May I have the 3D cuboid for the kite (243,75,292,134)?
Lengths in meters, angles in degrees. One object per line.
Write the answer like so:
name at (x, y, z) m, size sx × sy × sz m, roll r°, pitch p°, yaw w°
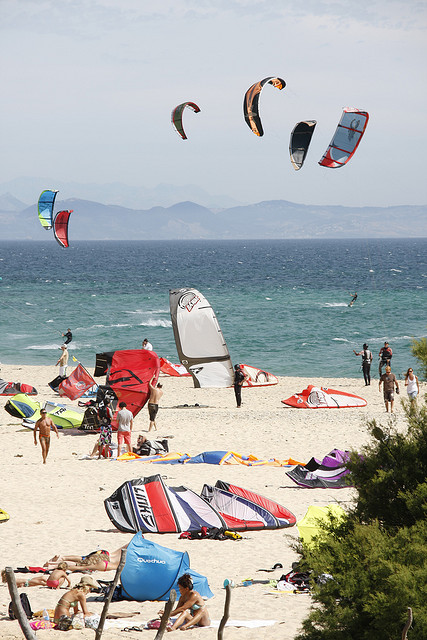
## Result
kite at (1.270, -5.547, 22.374) m, size 0.775 × 1.184 × 1.715 m, roll -1°, pitch 2°, yaw -10°

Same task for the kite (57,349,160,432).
kite at (-2.250, 1.540, 19.868) m, size 2.332 × 0.547 × 2.558 m, roll -13°, pitch 33°, yaw 9°

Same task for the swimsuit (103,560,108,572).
swimsuit at (-1.377, 3.131, 10.925) m, size 0.056 × 0.095 × 0.158 m, roll 0°, pitch 2°, yaw -8°

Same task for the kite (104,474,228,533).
kite at (-0.757, 2.855, 12.944) m, size 1.262 × 0.394 × 1.029 m, roll 5°, pitch 5°, yaw -15°

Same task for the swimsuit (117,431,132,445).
swimsuit at (-1.830, 2.399, 17.398) m, size 0.249 × 0.307 × 0.347 m, roll -1°, pitch 2°, yaw -14°

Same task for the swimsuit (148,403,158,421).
swimsuit at (-1.402, 2.118, 19.651) m, size 0.172 × 0.444 × 0.451 m, roll 0°, pitch 2°, yaw -7°

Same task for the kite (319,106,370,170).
kite at (3.116, -4.362, 20.697) m, size 0.830 × 0.223 × 2.088 m, roll 14°, pitch -31°, yaw -8°

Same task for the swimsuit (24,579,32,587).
swimsuit at (-2.242, 3.206, 10.397) m, size 0.086 × 0.079 × 0.148 m, roll 0°, pitch 1°, yaw -7°

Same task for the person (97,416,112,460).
person at (-2.225, 2.431, 17.468) m, size 0.249 × 0.695 × 0.887 m, roll 0°, pitch 2°, yaw -5°

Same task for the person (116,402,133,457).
person at (-1.809, 2.205, 17.408) m, size 0.280 × 1.049 × 0.810 m, roll 0°, pitch 2°, yaw -6°

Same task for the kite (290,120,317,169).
kite at (2.161, -4.270, 21.118) m, size 0.496 × 1.010 × 1.106 m, roll 0°, pitch 2°, yaw 0°

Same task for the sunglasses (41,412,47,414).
sunglasses at (-3.266, 1.797, 16.463) m, size 0.126 × 0.033 × 0.116 m, roll 0°, pitch 1°, yaw 22°

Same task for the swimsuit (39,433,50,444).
swimsuit at (-3.269, 2.317, 16.579) m, size 0.174 × 0.215 × 0.372 m, roll -1°, pitch 2°, yaw -15°

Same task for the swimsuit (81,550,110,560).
swimsuit at (-1.550, 3.072, 11.161) m, size 0.337 × 0.116 × 0.270 m, roll 0°, pitch 1°, yaw -11°
